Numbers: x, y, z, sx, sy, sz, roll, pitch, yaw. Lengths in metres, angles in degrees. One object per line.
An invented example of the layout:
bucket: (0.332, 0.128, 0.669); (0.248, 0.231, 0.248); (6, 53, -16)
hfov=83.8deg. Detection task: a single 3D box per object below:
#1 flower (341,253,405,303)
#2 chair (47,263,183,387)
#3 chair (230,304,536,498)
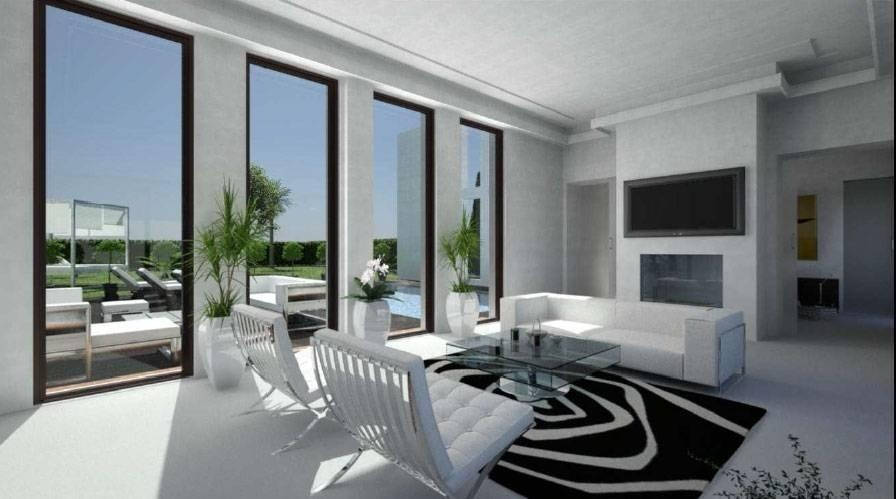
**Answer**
flower: (-1.235, 0.478, 8.427); (0.816, 0.517, 0.792); (-2, 4, -40)
chair: (-4.835, 1.089, 7.329); (1.666, 0.911, 1.572); (2, -2, -39)
chair: (-0.746, 1.721, 5.718); (3.109, 1.805, 1.151); (-2, 1, 30)
